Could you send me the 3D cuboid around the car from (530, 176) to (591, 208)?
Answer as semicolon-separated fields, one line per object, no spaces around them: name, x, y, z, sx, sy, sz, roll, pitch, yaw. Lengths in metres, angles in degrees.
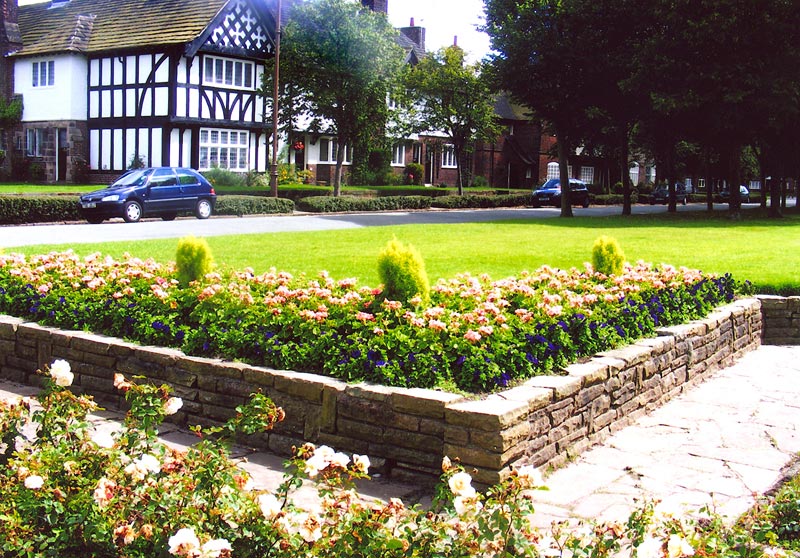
car;9.437;-5.147;44.518;2.158;1.637;3.585;11;12;41
